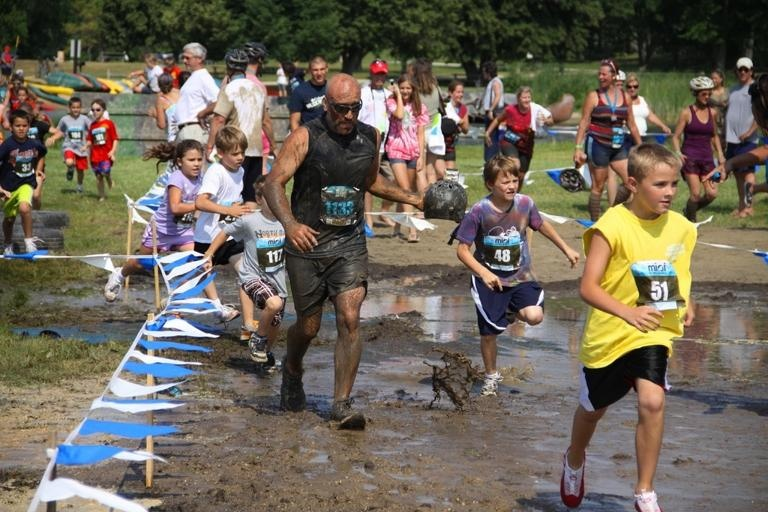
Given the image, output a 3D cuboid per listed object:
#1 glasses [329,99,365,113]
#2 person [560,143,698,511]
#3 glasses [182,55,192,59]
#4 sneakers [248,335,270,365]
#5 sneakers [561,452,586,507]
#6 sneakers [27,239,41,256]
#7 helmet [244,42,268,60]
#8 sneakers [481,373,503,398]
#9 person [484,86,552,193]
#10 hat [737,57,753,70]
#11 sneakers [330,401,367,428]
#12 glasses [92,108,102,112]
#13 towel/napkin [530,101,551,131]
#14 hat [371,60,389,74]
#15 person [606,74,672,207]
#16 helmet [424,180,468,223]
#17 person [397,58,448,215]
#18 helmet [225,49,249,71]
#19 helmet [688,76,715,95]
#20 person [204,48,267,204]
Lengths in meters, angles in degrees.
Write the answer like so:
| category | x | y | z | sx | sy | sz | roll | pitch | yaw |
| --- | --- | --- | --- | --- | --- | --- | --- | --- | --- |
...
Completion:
| category | x | y | z | sx | sy | sz | roll | pitch | yaw |
| --- | --- | --- | --- | --- | --- | --- | --- | --- | --- |
| glasses | -0.370 | -1.395 | 11.494 | 0.306 | 0.116 | 0.135 | -2 | 8 | -12 |
| person | 2.084 | 0.613 | 10.445 | 0.909 | 3.102 | 0.866 | 4 | 9 | 32 |
| glasses | -2.730 | -2.736 | 16.783 | 0.113 | 0.039 | 0.099 | 4 | 9 | 16 |
| sneakers | -1.314 | 1.001 | 12.864 | 0.152 | 0.179 | 0.410 | 8 | 8 | -31 |
| sneakers | 1.628 | 1.912 | 10.477 | 0.181 | 0.470 | 0.188 | 0 | 6 | 3 |
| sneakers | -4.634 | -0.100 | 16.004 | 0.189 | 0.225 | 0.553 | -2 | 2 | -30 |
| helmet | -1.692 | -2.680 | 15.991 | 0.307 | 0.227 | 0.262 | 1 | 8 | -2 |
| sneakers | 1.080 | 1.302 | 12.370 | 0.176 | 0.201 | 0.275 | 1 | 8 | 12 |
| person | 2.091 | -1.659 | 18.814 | 1.121 | 1.845 | 0.838 | 12 | 18 | 30 |
| hat | 5.788 | -3.054 | 19.549 | 0.298 | 0.184 | 0.413 | 3 | 10 | 16 |
| sneakers | -0.338 | 1.519 | 11.484 | 0.183 | 0.164 | 0.367 | 2 | -4 | -30 |
| glasses | -5.167 | -2.595 | 21.816 | 0.157 | 0.071 | 0.159 | -2 | 8 | -13 |
| towel/napkin | 2.435 | -2.179 | 19.136 | 0.253 | 0.531 | 0.394 | 7 | 52 | 19 |
| hat | -0.073 | -2.755 | 17.778 | 0.304 | 0.212 | 0.484 | 2 | 4 | -4 |
| person | 4.124 | -1.890 | 20.181 | 1.067 | 2.154 | 0.831 | 2 | 26 | 12 |
| helmet | 0.600 | -0.542 | 12.157 | 0.357 | 0.350 | 0.432 | -1 | 17 | -8 |
| person | 0.552 | -1.733 | 19.443 | 0.684 | 2.257 | 0.608 | -6 | -7 | -21 |
| helmet | -1.929 | -2.554 | 15.836 | 0.270 | 0.278 | 0.295 | 18 | 23 | 12 |
| helmet | 4.963 | -2.683 | 19.189 | 0.330 | 0.180 | 0.474 | -1 | 16 | 2 |
| person | -1.942 | -1.506 | 16.134 | 0.883 | 2.385 | 0.693 | -10 | 20 | -41 |
